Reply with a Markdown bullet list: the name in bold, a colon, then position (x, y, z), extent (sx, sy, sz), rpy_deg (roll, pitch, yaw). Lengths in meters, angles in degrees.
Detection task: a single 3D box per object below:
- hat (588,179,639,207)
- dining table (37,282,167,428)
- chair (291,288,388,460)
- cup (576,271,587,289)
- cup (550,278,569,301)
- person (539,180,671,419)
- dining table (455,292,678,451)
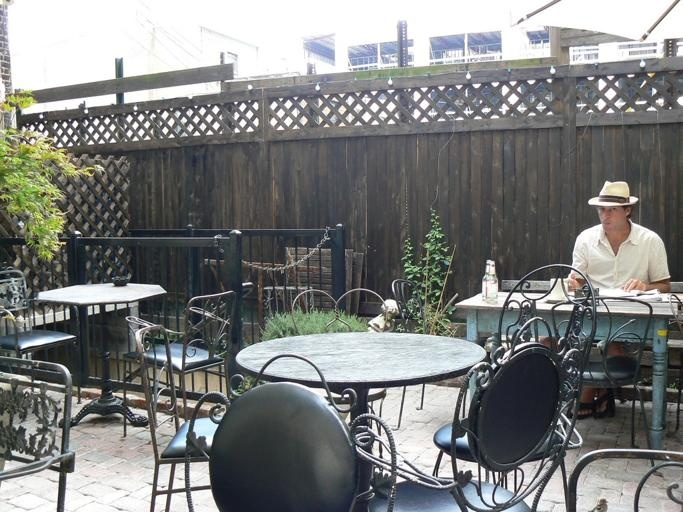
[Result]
- **hat**: position (2.420, -0.525, 6.674), extent (0.310, 0.162, 0.361), rpy_deg (1, 3, 43)
- **dining table**: position (-2.105, 0.843, 6.943), extent (1.115, 1.498, 1.199), rpy_deg (2, 3, 36)
- **chair**: position (-0.171, 0.898, 7.000), extent (0.907, 1.956, 1.065), rpy_deg (-1, 0, -8)
- **cup**: position (1.997, 0.207, 6.342), extent (0.123, 0.138, 0.125), rpy_deg (-1, -5, 0)
- **cup**: position (1.778, 0.279, 6.170), extent (0.112, 0.190, 0.192), rpy_deg (2, 5, 39)
- **person**: position (2.382, 0.442, 6.758), extent (0.824, 2.203, 1.048), rpy_deg (8, 12, 43)
- **dining table**: position (1.913, 1.225, 6.068), extent (1.584, 1.418, 1.115), rpy_deg (-2, -2, 28)
